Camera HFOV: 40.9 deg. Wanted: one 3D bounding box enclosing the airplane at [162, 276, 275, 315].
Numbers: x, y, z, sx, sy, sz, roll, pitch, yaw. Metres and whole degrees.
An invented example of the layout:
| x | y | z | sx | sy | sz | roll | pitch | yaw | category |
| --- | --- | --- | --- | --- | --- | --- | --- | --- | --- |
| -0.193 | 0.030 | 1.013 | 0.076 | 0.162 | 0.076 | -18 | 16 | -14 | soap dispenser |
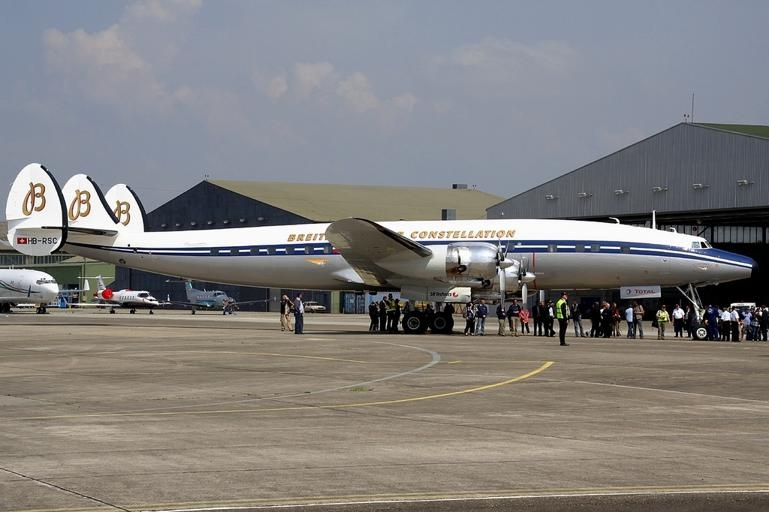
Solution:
| x | y | z | sx | sy | sz | roll | pitch | yaw | category |
| --- | --- | --- | --- | --- | --- | --- | --- | --- | --- |
| -13.772 | 3.196 | 80.711 | 7.206 | 1.475 | 5.334 | -6 | -17 | 34 | airplane |
